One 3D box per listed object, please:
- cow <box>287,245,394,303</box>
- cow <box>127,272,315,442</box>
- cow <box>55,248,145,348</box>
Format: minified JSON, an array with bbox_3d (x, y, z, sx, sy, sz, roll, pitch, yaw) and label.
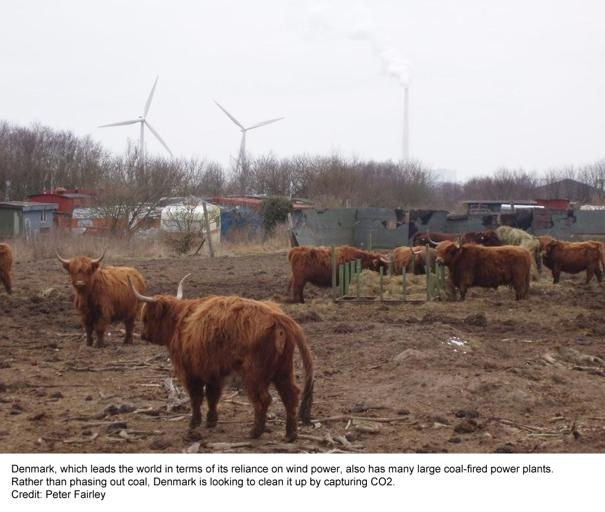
[{"bbox_3d":[0.942,0.408,17.987,2.630,1.640,1.076,-1,1,-16],"label":"cow"},{"bbox_3d":[-0.949,1.388,9.910,2.171,1.701,0.645,4,10,25],"label":"cow"},{"bbox_3d":[-3.439,0.794,13.594,0.507,1.656,1.349,7,12,41],"label":"cow"}]
